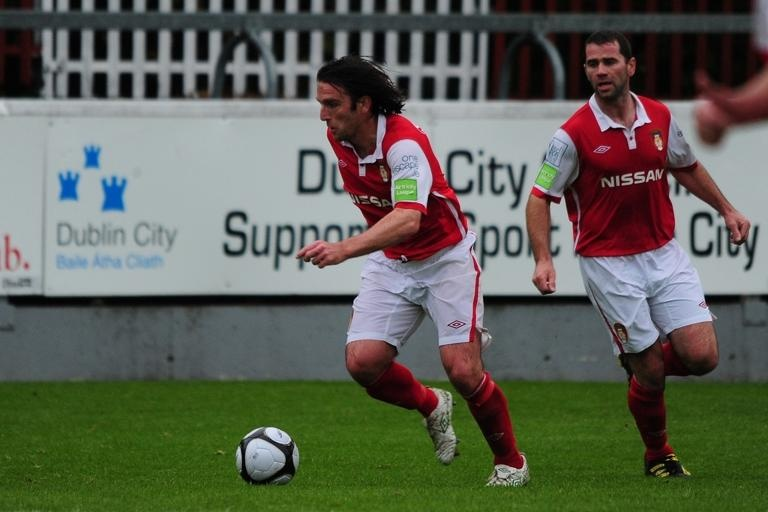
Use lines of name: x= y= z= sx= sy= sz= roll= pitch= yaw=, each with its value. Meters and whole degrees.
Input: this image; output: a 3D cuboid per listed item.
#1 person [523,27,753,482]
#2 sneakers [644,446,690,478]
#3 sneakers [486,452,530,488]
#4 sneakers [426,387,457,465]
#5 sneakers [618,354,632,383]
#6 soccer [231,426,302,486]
person: x=1.882 y=-0.020 z=10.689 sx=1.460 sy=3.344 sz=0.971 roll=2 pitch=11 yaw=14
sneakers: x=2.138 y=1.624 z=10.718 sx=0.391 sy=0.190 sz=0.149 roll=-4 pitch=-6 yaw=30
sneakers: x=0.936 y=1.630 z=10.519 sx=0.330 sy=0.213 sz=0.231 roll=0 pitch=11 yaw=2
sneakers: x=0.441 y=1.326 z=10.866 sx=0.280 sy=0.638 sz=0.204 roll=-7 pitch=-8 yaw=-13
sneakers: x=1.912 y=0.897 z=10.987 sx=0.077 sy=0.229 sz=0.167 roll=-18 pitch=18 yaw=4
soccer: x=-0.884 y=1.489 z=10.552 sx=0.396 sy=0.428 sz=0.386 roll=-2 pitch=20 yaw=-40
